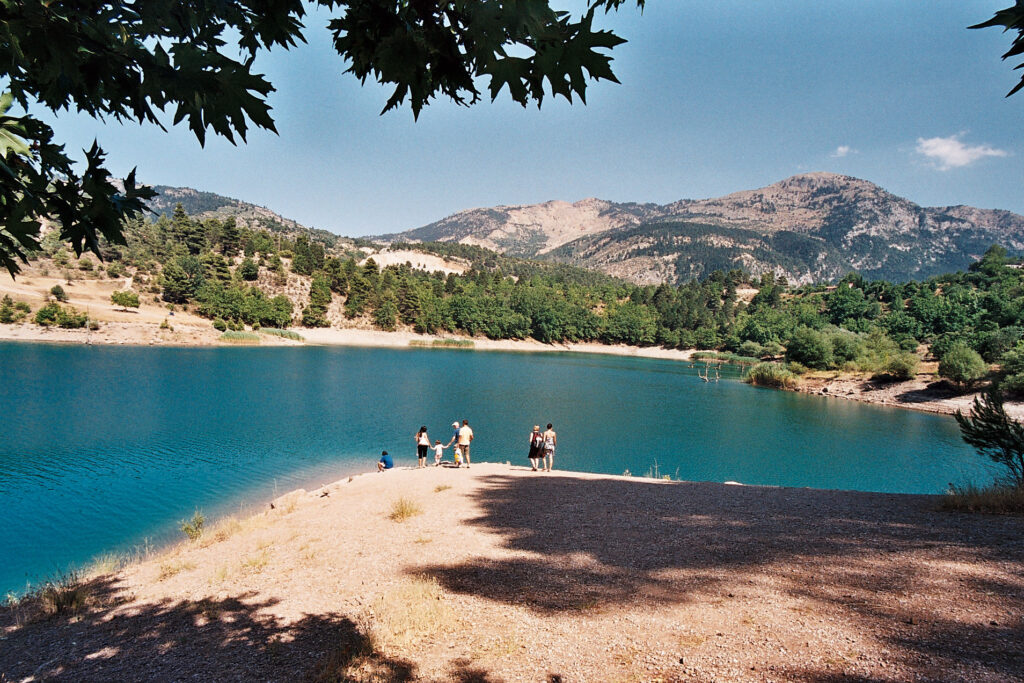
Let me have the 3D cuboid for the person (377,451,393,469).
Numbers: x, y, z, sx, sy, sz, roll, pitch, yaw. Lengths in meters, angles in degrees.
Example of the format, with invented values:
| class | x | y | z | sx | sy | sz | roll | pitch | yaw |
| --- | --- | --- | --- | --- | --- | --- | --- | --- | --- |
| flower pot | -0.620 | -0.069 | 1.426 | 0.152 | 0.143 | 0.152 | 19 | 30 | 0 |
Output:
| class | x | y | z | sx | sy | sz | roll | pitch | yaw |
| --- | --- | --- | --- | --- | --- | --- | --- | --- | --- |
| person | -6.814 | 6.288 | 36.072 | 0.586 | 0.945 | 1.312 | -5 | 8 | -4 |
